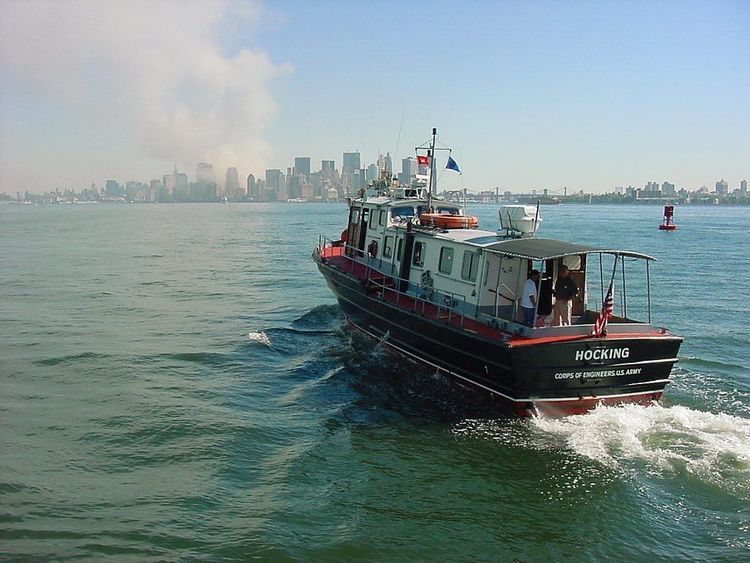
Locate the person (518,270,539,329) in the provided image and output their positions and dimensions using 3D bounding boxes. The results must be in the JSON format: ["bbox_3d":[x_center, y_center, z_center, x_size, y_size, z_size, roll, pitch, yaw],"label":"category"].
[{"bbox_3d":[4.526,0.517,18.854,0.451,1.518,1.434,3,13,13],"label":"person"}]

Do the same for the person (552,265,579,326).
[{"bbox_3d":[5.582,0.437,19.011,0.573,1.718,0.582,6,15,24],"label":"person"}]

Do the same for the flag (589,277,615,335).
[{"bbox_3d":[6.385,0.708,17.952,0.342,1.521,0.631,9,16,31],"label":"flag"}]
